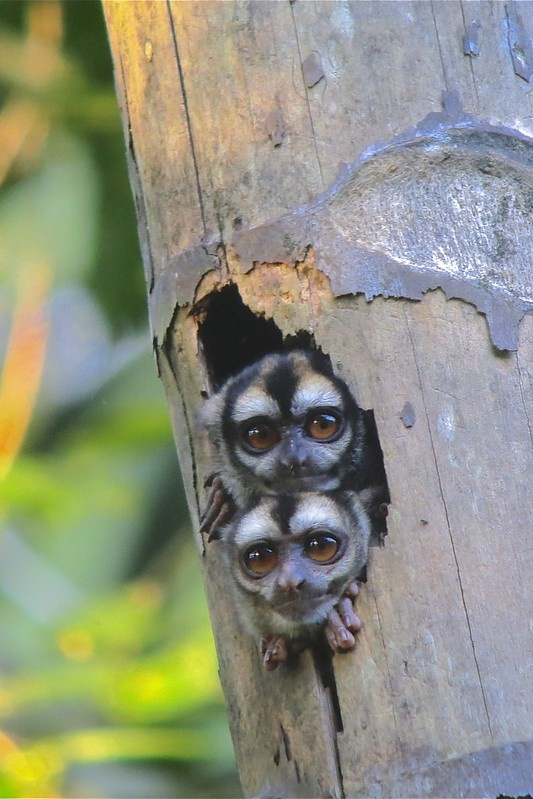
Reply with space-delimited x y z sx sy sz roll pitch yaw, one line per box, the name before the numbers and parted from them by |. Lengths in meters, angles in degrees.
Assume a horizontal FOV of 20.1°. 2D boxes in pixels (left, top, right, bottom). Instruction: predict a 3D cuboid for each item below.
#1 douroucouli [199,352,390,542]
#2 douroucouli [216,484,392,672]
douroucouli | 0.083 0.152 5.280 0.684 0.417 0.649 -2 99 -3
douroucouli | 0.134 0.595 4.801 0.264 0.427 0.471 47 27 -45
